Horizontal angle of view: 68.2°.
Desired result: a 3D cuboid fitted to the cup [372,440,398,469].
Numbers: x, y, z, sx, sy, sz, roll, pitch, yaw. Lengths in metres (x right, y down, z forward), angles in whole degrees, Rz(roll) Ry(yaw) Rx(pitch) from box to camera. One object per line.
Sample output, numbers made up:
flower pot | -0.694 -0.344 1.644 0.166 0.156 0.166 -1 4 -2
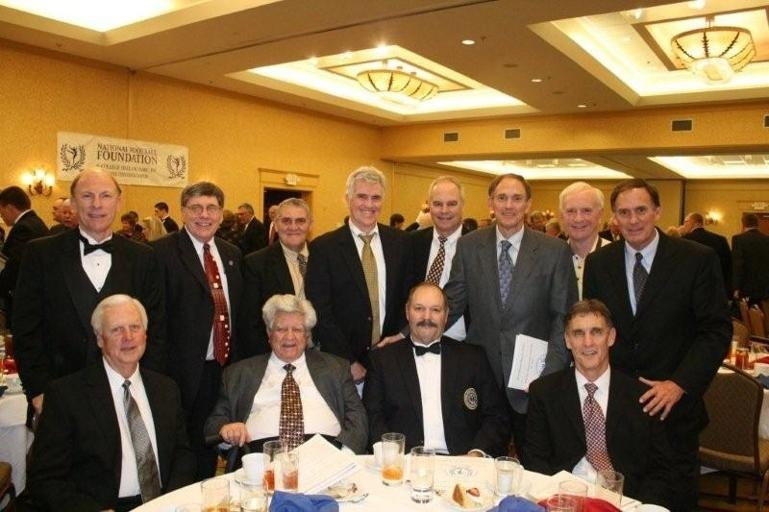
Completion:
cup | 0.009 1.135 3.311 0.157 0.145 0.196 1 -9 2

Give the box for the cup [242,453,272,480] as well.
cup | -0.712 1.159 3.190 0.149 0.117 0.152 1 6 0

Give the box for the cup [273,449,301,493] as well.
cup | -0.539 1.154 3.072 0.137 0.220 0.099 1 7 0

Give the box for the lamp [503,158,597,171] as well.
lamp | 5.352 -2.968 18.208 0.454 0.427 4.106 26 22 37

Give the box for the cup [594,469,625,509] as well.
cup | 1.241 1.246 3.036 0.183 0.215 0.120 -1 7 -16

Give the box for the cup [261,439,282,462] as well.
cup | -0.618 1.090 3.206 0.097 0.142 0.154 1 -8 2

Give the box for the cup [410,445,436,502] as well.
cup | 0.210 1.189 3.172 0.138 0.292 0.192 1 6 2

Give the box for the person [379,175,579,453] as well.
person | 0.897 0.734 4.471 1.278 2.636 0.926 -2 7 34

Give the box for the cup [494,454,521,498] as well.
cup | 0.682 1.217 3.143 0.210 0.207 0.143 0 0 8
